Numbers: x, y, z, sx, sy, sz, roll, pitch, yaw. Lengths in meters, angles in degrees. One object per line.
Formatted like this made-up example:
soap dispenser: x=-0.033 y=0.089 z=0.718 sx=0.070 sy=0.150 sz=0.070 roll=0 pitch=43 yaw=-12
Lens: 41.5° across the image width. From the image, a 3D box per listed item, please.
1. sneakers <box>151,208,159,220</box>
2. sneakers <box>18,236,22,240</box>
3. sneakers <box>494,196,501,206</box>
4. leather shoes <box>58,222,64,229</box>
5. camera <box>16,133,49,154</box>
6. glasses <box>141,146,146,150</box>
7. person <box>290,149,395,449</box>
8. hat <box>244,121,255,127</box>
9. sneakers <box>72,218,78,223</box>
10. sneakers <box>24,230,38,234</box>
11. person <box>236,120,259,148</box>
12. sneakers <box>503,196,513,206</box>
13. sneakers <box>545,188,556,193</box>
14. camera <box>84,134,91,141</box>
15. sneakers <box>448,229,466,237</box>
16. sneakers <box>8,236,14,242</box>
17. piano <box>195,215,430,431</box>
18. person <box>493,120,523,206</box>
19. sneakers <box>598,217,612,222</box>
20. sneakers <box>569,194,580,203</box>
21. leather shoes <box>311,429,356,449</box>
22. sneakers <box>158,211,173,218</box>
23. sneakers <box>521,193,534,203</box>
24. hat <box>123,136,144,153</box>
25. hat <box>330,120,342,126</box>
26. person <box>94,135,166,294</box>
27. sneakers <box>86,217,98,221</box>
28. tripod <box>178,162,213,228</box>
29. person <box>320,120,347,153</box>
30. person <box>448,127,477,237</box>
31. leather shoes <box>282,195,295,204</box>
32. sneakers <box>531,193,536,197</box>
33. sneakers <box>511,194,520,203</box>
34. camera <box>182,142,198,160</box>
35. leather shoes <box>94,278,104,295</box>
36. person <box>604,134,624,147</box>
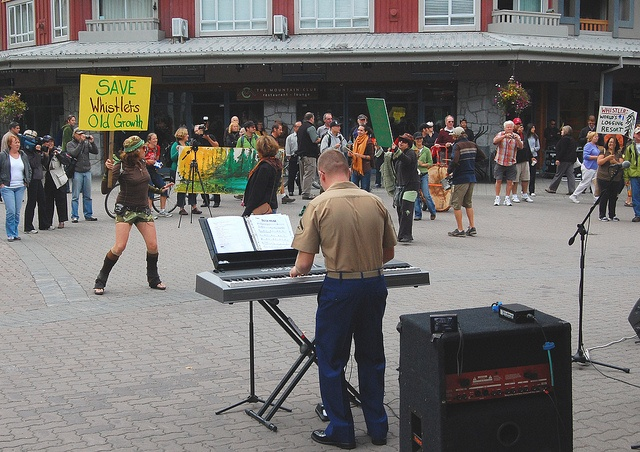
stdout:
sneakers: x=-3.782 y=-0.252 z=19.389 sx=0.164 sy=0.237 sz=0.520 roll=-13 pitch=-1 yaw=-21
sneakers: x=-6.176 y=0.254 z=17.390 sx=0.062 sy=0.078 sz=0.194 roll=3 pitch=5 yaw=4
sneakers: x=4.755 y=-0.626 z=22.527 sx=0.122 sy=0.178 sz=0.370 roll=-1 pitch=-6 yaw=10
leather shoes: x=-5.740 y=0.000 z=18.761 sx=0.097 sy=0.134 sz=0.324 roll=1 pitch=-4 yaw=-16
camera: x=-6.066 y=-1.721 z=17.806 sx=0.513 sy=0.258 sz=0.384 roll=11 pitch=2 yaw=6
glasses: x=-2.883 y=-1.248 z=13.809 sx=0.049 sy=0.069 sz=0.039 roll=3 pitch=13 yaw=-23
person: x=0.286 y=0.833 z=9.689 sx=1.021 sy=3.199 sz=0.977 roll=1 pitch=14 yaw=5
hat: x=-1.771 y=-2.600 z=21.862 sx=0.250 sy=0.259 sz=0.200 roll=-5 pitch=7 yaw=-29
sneakers: x=-5.651 y=-0.114 z=19.508 sx=0.079 sy=0.092 sz=0.206 roll=1 pitch=3 yaw=-10
sneakers: x=-6.196 y=0.128 z=18.133 sx=0.208 sy=0.098 sz=0.093 roll=-2 pitch=2 yaw=-8
person: x=-1.905 y=-2.335 z=21.872 sx=0.516 sy=0.604 sz=1.096 roll=-2 pitch=15 yaw=-6
sneakers: x=5.085 y=-0.639 z=22.681 sx=0.131 sy=0.226 sz=0.343 roll=-2 pitch=-2 yaw=-4
sneakers: x=6.880 y=-1.051 z=25.209 sx=0.264 sy=0.121 sz=0.100 roll=21 pitch=-3 yaw=32
camera: x=-5.437 y=-2.033 z=19.731 sx=0.069 sy=0.079 sz=0.229 roll=2 pitch=9 yaw=-31
sneakers: x=2.941 y=0.177 z=18.109 sx=0.295 sy=0.138 sz=0.160 roll=4 pitch=-1 yaw=13
sneakers: x=-6.303 y=0.284 z=17.253 sx=0.158 sy=0.068 sz=0.054 roll=-11 pitch=-11 yaw=43
piano: x=-0.284 y=1.097 z=10.615 sx=1.020 sy=2.522 sz=2.793 roll=-6 pitch=-2 yaw=44
person: x=5.013 y=-1.622 z=22.503 sx=0.732 sy=2.272 sz=0.996 roll=3 pitch=14 yaw=12
sneakers: x=6.854 y=-0.146 z=20.349 sx=0.088 sy=0.109 sz=0.241 roll=1 pitch=2 yaw=-37
sneakers: x=7.007 y=-0.712 z=23.203 sx=0.124 sy=0.176 sz=0.384 roll=10 pitch=-2 yaw=41
leather shoes: x=0.160 y=2.407 z=9.675 sx=0.451 sy=0.223 sz=0.201 roll=14 pitch=-4 yaw=21
sneakers: x=-3.748 y=-0.267 z=20.628 sx=0.341 sy=0.172 sz=0.131 roll=2 pitch=4 yaw=18
sneakers: x=5.758 y=-0.758 z=23.366 sx=0.142 sy=0.194 sz=0.400 roll=10 pitch=4 yaw=36
hat: x=-3.022 y=-1.302 z=13.743 sx=0.276 sy=0.166 sz=0.290 roll=-19 pitch=7 yaw=17
hat: x=0.493 y=-2.602 z=21.740 sx=0.303 sy=0.178 sz=0.227 roll=2 pitch=8 yaw=-25
person: x=-3.084 y=-0.148 z=13.730 sx=0.999 sy=2.424 sz=0.706 roll=-5 pitch=15 yaw=-18
sneakers: x=-5.358 y=-0.144 z=19.858 sx=0.221 sy=0.088 sz=0.091 roll=1 pitch=0 yaw=1
tripod: x=-3.015 y=-0.818 z=20.385 sx=0.818 sy=1.380 sz=2.267 roll=-2 pitch=15 yaw=-8
person: x=0.437 y=-2.204 z=21.585 sx=0.816 sy=0.768 sz=0.973 roll=-8 pitch=17 yaw=-28
person: x=3.104 y=-0.898 z=18.207 sx=0.664 sy=2.298 sz=0.945 roll=2 pitch=14 yaw=9
leather shoes: x=-0.863 y=-0.669 z=22.217 sx=0.420 sy=0.250 sz=0.143 roll=-1 pitch=4 yaw=-24
sneakers: x=6.178 y=-0.875 z=24.384 sx=0.087 sy=0.111 sz=0.252 roll=-2 pitch=-4 yaw=13
sneakers: x=5.467 y=-0.726 z=23.466 sx=0.117 sy=0.174 sz=0.359 roll=-3 pitch=1 yaw=-3
camera: x=-3.161 y=-1.844 z=20.724 sx=0.457 sy=0.410 sz=0.232 roll=-8 pitch=16 yaw=-26
leather shoes: x=-3.565 y=0.986 z=13.662 sx=0.191 sy=0.260 sz=0.625 roll=2 pitch=-5 yaw=-23
person: x=8.037 y=-2.302 z=23.089 sx=0.767 sy=0.309 sz=0.646 roll=2 pitch=2 yaw=7
